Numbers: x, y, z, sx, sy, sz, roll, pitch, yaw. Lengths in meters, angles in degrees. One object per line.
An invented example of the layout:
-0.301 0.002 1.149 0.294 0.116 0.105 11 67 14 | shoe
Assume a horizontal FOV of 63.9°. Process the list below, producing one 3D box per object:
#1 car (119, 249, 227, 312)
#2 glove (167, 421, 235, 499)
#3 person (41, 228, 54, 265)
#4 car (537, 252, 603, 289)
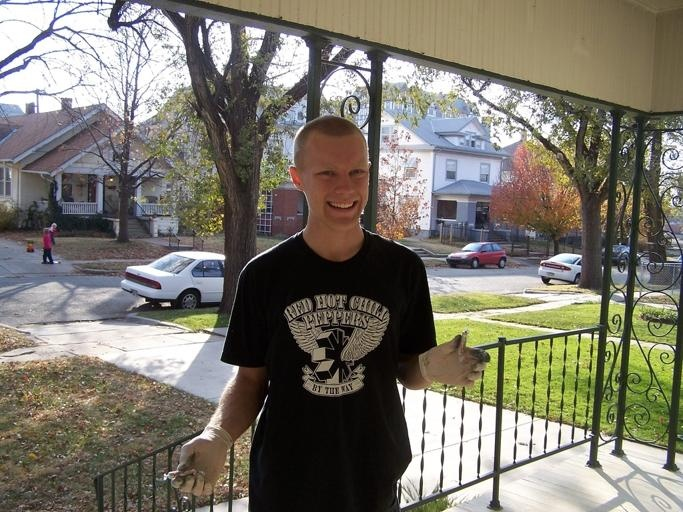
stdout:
-4.571 0.560 14.890 1.366 1.121 2.999 10 14 38 | car
-0.555 0.835 2.164 0.169 0.239 0.361 2 5 3 | glove
-11.471 -0.432 21.374 0.404 1.382 1.747 -1 6 -29 | person
10.077 0.603 25.146 1.666 1.289 1.215 4 5 18 | car
